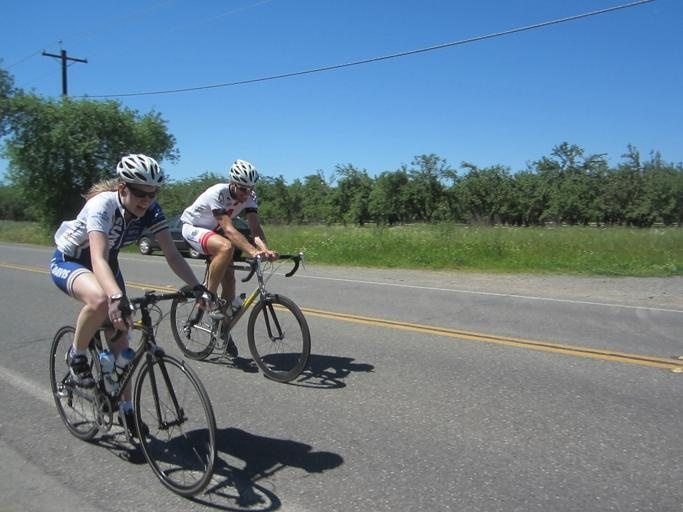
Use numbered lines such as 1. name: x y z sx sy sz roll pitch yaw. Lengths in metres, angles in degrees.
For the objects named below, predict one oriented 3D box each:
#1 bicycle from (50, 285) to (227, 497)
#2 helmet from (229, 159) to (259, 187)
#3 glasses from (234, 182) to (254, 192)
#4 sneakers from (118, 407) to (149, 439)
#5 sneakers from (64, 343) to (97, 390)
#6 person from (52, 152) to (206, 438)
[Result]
1. bicycle: -1.602 0.914 4.290 1.836 1.432 0.458 8 14 41
2. helmet: -1.039 -0.858 5.947 0.268 0.290 0.344 -3 10 -12
3. glasses: -1.066 -0.733 6.055 0.125 0.036 0.124 31 20 35
4. sneakers: -1.597 1.229 4.250 0.164 0.127 0.411 48 -19 -21
5. sneakers: -2.034 0.869 4.459 0.456 0.194 0.163 22 18 36
6. person: -1.666 0.245 4.539 1.202 1.997 1.446 -1 7 -35
